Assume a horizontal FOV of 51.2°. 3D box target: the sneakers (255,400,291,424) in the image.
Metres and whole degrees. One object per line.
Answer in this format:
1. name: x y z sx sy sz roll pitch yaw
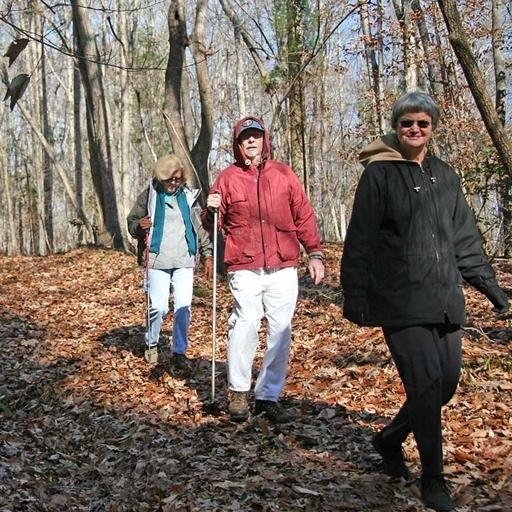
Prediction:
1. sneakers: 0.119 1.259 4.432 0.353 0.149 0.134 4 4 30

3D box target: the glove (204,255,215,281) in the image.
1. glove: -0.487 0.140 5.456 0.101 0.319 0.098 2 -6 -1

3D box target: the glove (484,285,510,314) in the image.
1. glove: 1.388 0.268 3.072 0.069 0.127 0.165 -12 -23 22

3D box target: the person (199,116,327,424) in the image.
1. person: 0.074 0.099 4.415 0.893 2.399 0.573 -5 9 -6

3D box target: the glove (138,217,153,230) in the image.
1. glove: -1.126 -0.295 5.448 0.130 0.147 0.109 2 2 4

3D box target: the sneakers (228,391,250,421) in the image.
1. sneakers: -0.148 1.209 4.385 0.157 0.234 0.175 -4 9 -2

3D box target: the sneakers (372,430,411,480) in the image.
1. sneakers: 0.860 1.274 3.467 0.142 0.362 0.162 -12 -20 -28

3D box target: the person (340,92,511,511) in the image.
1. person: 0.965 0.235 3.143 0.915 2.314 0.632 -3 9 7

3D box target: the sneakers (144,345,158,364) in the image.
1. sneakers: -1.156 1.086 5.890 0.143 0.189 0.190 5 -11 -26
